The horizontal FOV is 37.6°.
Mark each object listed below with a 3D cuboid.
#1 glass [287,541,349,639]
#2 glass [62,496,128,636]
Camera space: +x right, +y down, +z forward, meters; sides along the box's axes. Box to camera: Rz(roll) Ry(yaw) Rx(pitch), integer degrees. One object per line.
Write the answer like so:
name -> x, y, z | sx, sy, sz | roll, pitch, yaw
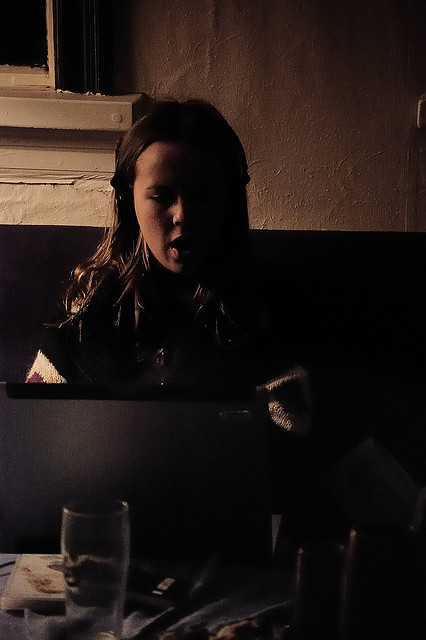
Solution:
glass -> 0.165, 0.425, 0.969 | 0.071, 0.171, 0.086 | 2, -25, 12
glass -> -0.182, 0.383, 0.959 | 0.099, 0.156, 0.095 | 1, 6, -10
